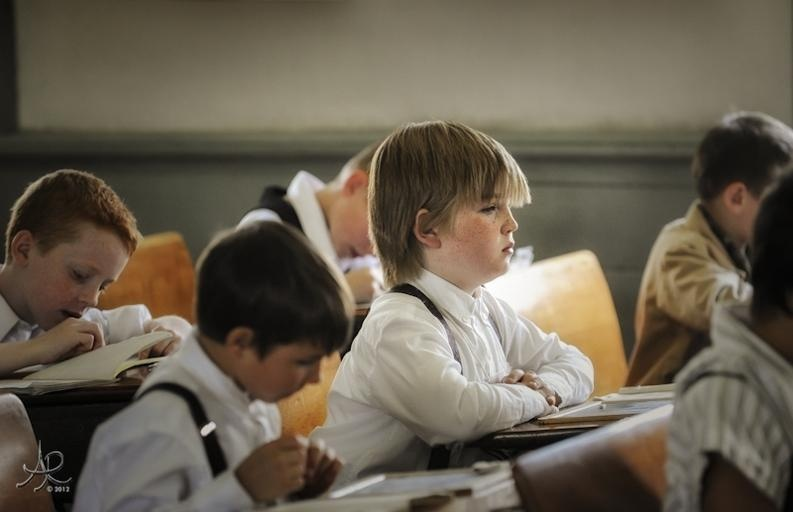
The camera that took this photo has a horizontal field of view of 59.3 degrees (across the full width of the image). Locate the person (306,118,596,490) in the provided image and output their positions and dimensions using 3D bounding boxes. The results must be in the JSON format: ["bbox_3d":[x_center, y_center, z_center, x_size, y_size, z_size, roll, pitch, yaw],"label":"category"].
[{"bbox_3d":[0.097,0.137,1.547,0.644,0.866,0.485,-1,-3,16],"label":"person"}]
